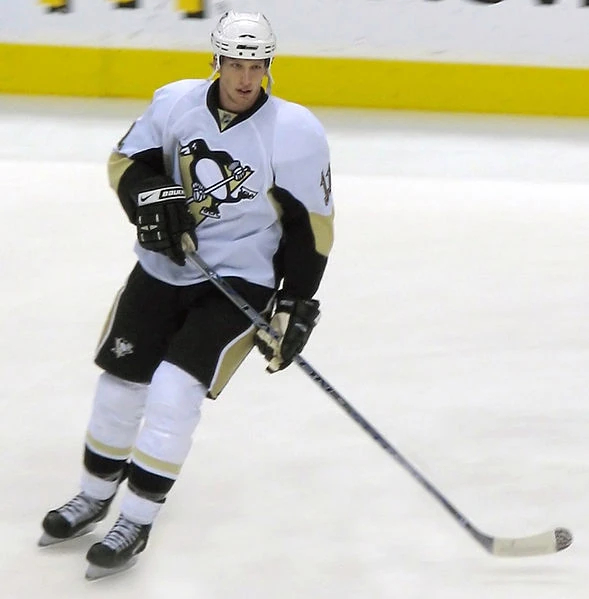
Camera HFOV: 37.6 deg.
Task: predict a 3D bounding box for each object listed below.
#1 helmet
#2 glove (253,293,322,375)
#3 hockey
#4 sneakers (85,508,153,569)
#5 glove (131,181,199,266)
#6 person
[{"bbox_3d":[-0.126,-0.617,2.081,0.148,0.147,0.136,13,18,17],"label":"helmet"},{"bbox_3d":[-0.017,0.081,2.143,0.204,0.130,0.092,-46,22,-20],"label":"glove"},{"bbox_3d":[0.242,0.320,2.587,1.303,0.177,0.112,38,64,1],"label":"hockey"},{"bbox_3d":[-0.405,0.574,2.091,0.075,0.080,0.204,24,17,11],"label":"sneakers"},{"bbox_3d":[-0.315,-0.183,2.089,0.140,0.191,0.132,2,19,-17],"label":"glove"},{"bbox_3d":[-0.229,-0.020,2.060,0.591,1.307,0.570,9,18,0],"label":"person"}]
